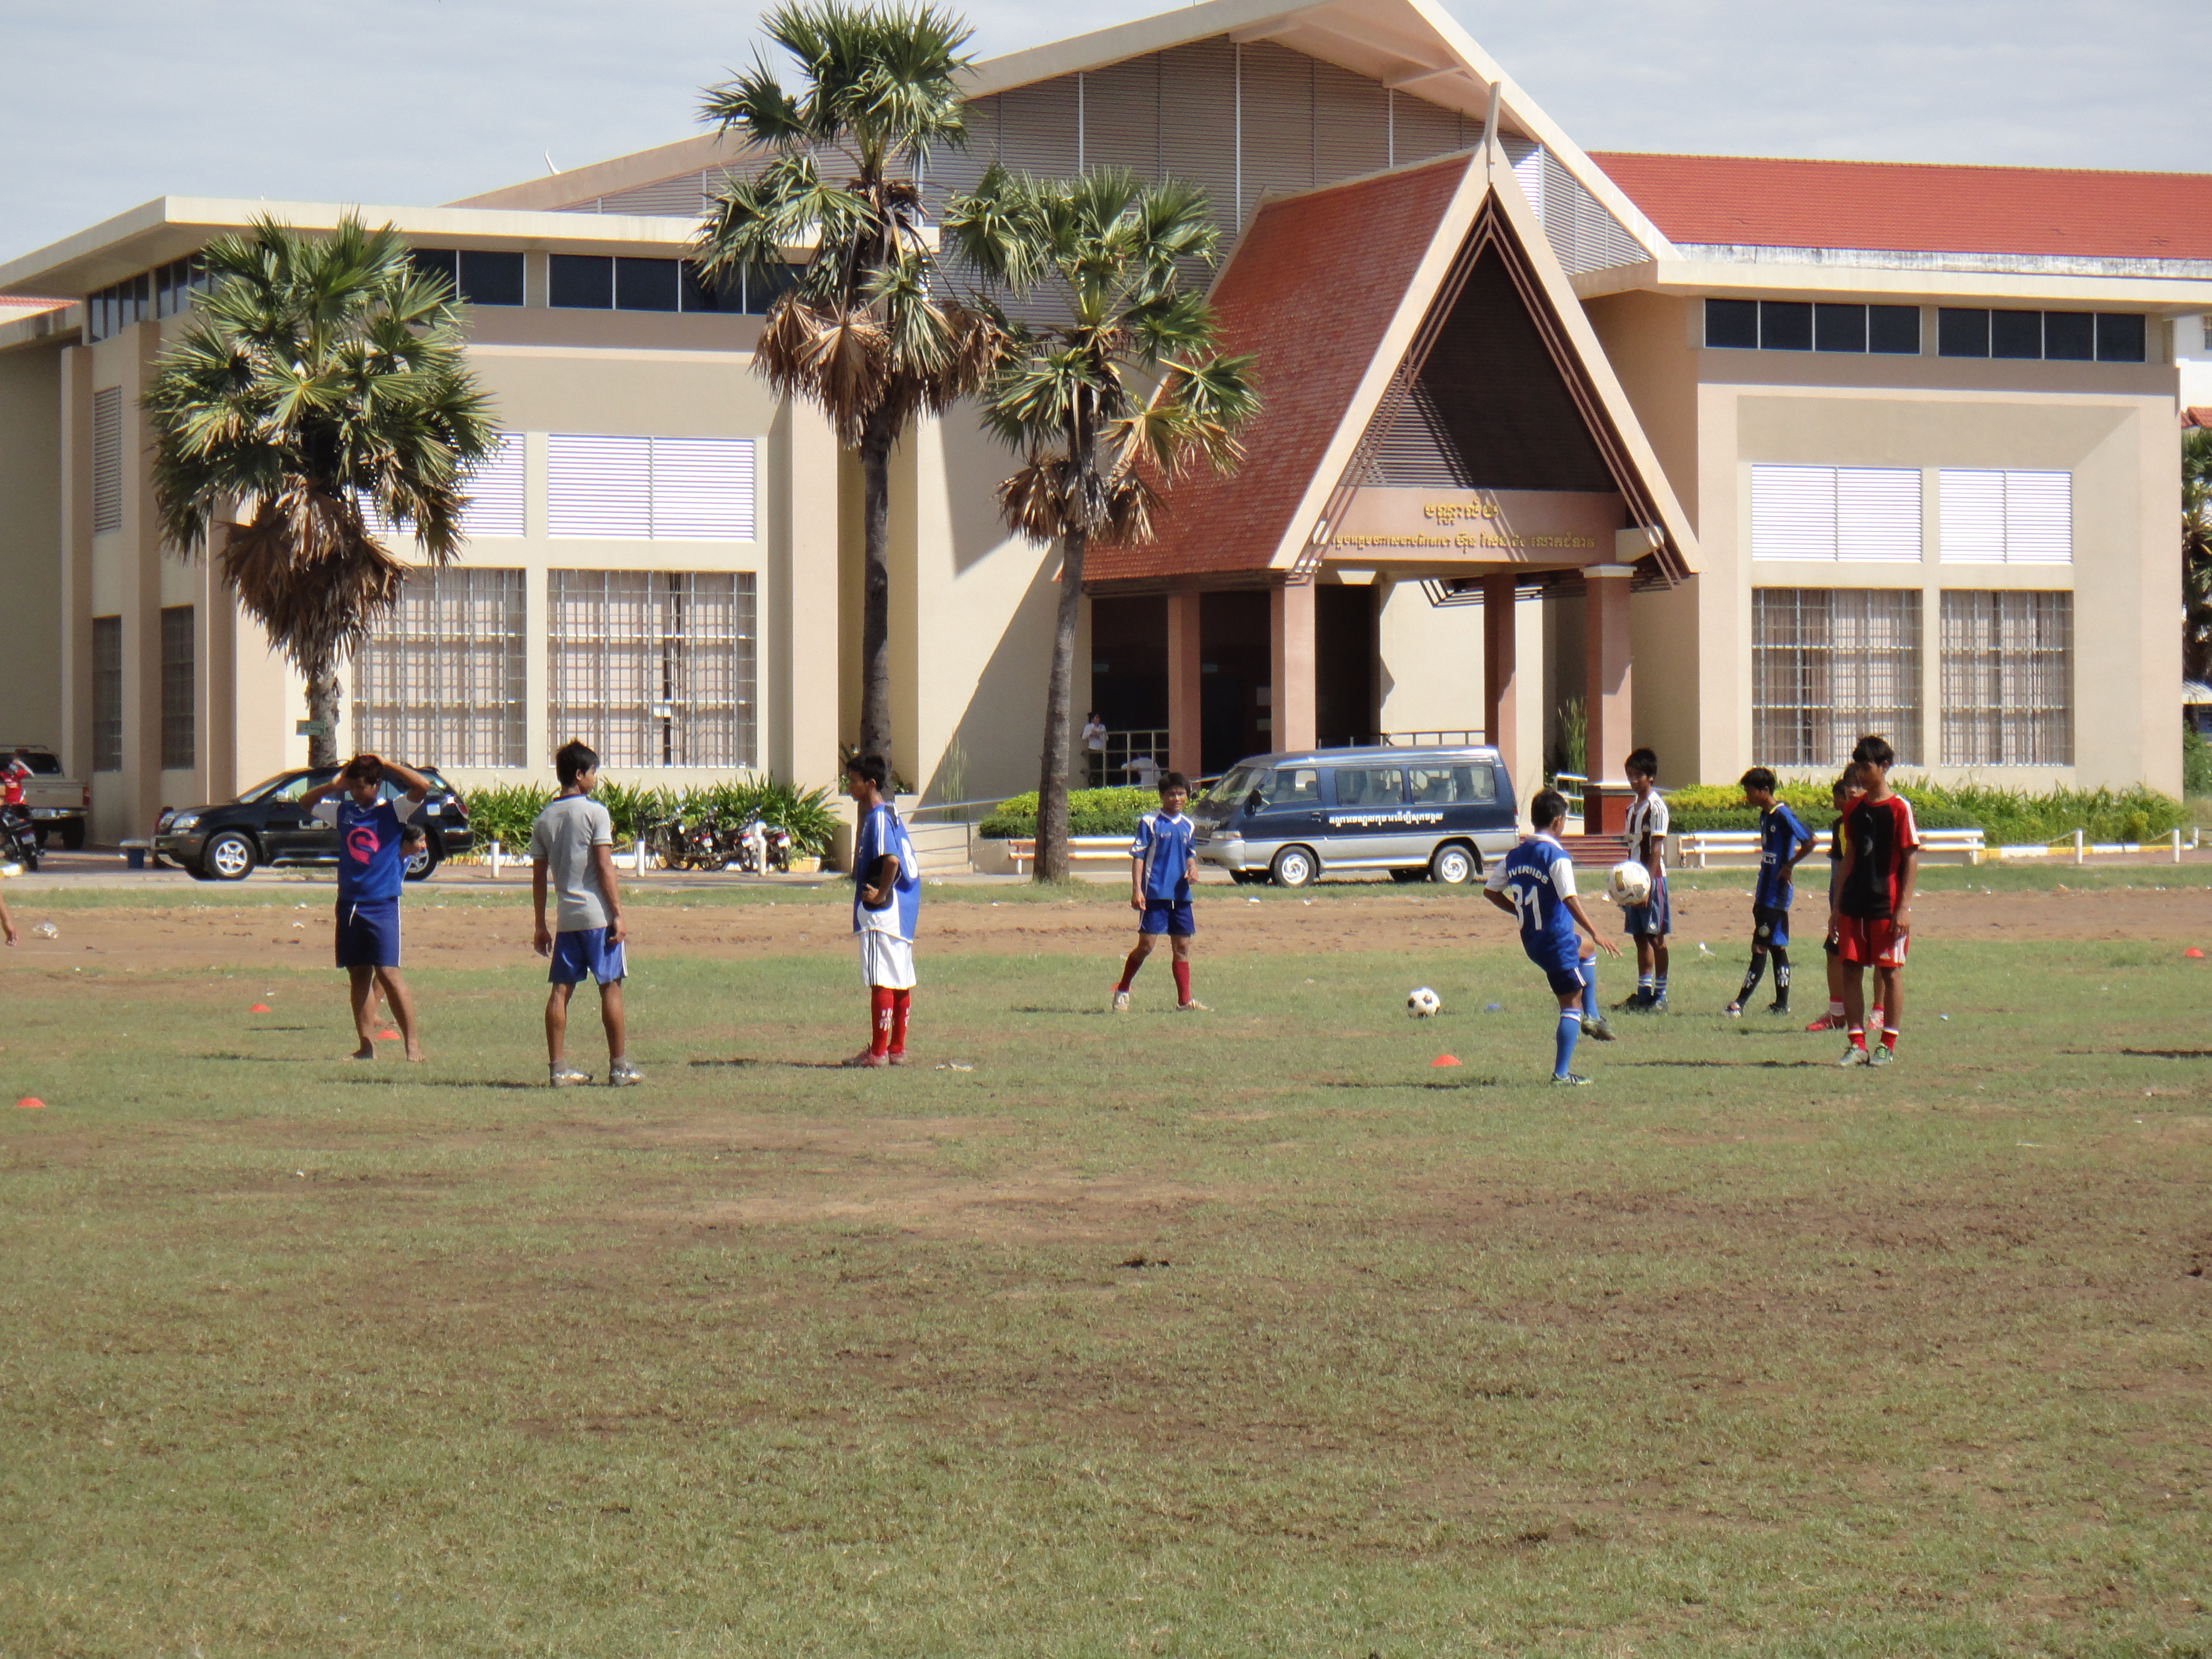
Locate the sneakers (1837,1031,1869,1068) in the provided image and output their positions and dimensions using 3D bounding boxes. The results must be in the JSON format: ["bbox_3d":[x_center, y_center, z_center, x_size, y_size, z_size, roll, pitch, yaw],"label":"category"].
[{"bbox_3d":[5.580,1.587,29.763,0.210,0.276,0.667,3,8,11],"label":"sneakers"}]

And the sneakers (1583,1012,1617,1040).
[{"bbox_3d":[3.784,1.527,30.807,0.123,0.190,0.374,5,-2,30],"label":"sneakers"}]

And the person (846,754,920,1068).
[{"bbox_3d":[-1.699,0.562,29.909,0.500,2.392,1.170,1,8,-4],"label":"person"}]

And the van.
[{"bbox_3d":[3.204,-0.064,53.132,3.765,1.802,1.886,1,-2,-21],"label":"van"}]

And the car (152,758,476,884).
[{"bbox_3d":[-9.114,-0.076,45.903,3.008,1.350,1.437,2,-2,-15],"label":"car"}]

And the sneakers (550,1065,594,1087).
[{"bbox_3d":[-3.836,1.762,28.648,0.272,0.126,0.098,-8,14,-29],"label":"sneakers"}]

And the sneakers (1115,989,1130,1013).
[{"bbox_3d":[0.099,1.453,34.189,0.139,0.207,0.115,-1,-6,24],"label":"sneakers"}]

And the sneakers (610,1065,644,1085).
[{"bbox_3d":[-3.419,1.746,28.651,0.291,0.136,0.104,-4,7,-43],"label":"sneakers"}]

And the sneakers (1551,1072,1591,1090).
[{"bbox_3d":[3.349,1.778,28.646,0.288,0.135,0.111,-2,5,-20],"label":"sneakers"}]

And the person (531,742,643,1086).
[{"bbox_3d":[-3.710,0.586,28.412,0.708,2.513,1.171,0,8,-6],"label":"person"}]
